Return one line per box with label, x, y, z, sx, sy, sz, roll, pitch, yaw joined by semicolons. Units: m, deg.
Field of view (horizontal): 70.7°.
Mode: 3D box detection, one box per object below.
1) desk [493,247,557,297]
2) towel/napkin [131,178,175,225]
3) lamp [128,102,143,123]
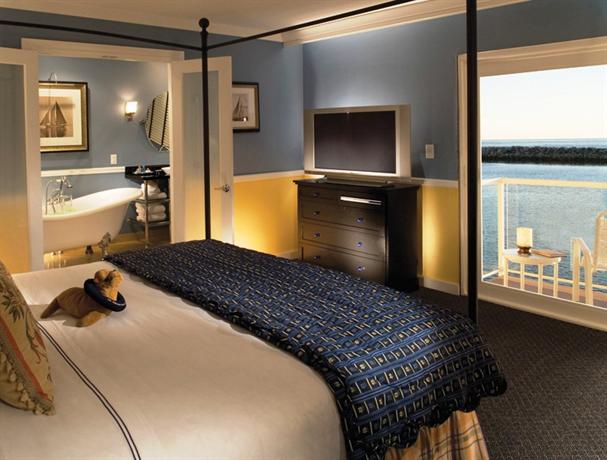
desk;2.173;0.374;4.206;0.363;0.465;0.421;-1;4;-5
towel/napkin;-2.220;-0.435;6.483;0.606;0.784;0.582;3;6;34
lamp;-2.611;-1.813;6.626;0.217;0.277;0.123;-8;15;-29
